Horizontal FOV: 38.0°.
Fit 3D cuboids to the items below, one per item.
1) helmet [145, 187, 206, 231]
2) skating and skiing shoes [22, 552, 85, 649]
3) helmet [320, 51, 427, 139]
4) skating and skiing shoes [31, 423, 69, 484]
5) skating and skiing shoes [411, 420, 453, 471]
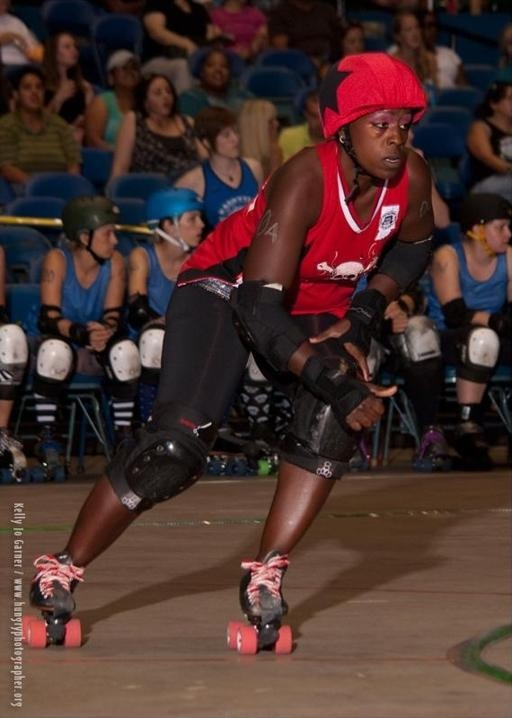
[{"bbox_3d":[-0.530,-0.919,4.478,0.319,0.206,0.226,-20,5,27],"label":"helmet"},{"bbox_3d":[-0.400,0.486,1.481,0.118,0.140,0.225,6,1,-13],"label":"skating and skiing shoes"},{"bbox_3d":[0.213,-0.520,1.471,0.227,0.154,0.185,13,30,37],"label":"helmet"},{"bbox_3d":[-1.113,0.433,3.985,0.173,0.263,0.530,4,19,-21],"label":"skating and skiing shoes"},{"bbox_3d":[0.975,0.473,4.087,0.136,0.144,0.334,3,32,9],"label":"skating and skiing shoes"}]
